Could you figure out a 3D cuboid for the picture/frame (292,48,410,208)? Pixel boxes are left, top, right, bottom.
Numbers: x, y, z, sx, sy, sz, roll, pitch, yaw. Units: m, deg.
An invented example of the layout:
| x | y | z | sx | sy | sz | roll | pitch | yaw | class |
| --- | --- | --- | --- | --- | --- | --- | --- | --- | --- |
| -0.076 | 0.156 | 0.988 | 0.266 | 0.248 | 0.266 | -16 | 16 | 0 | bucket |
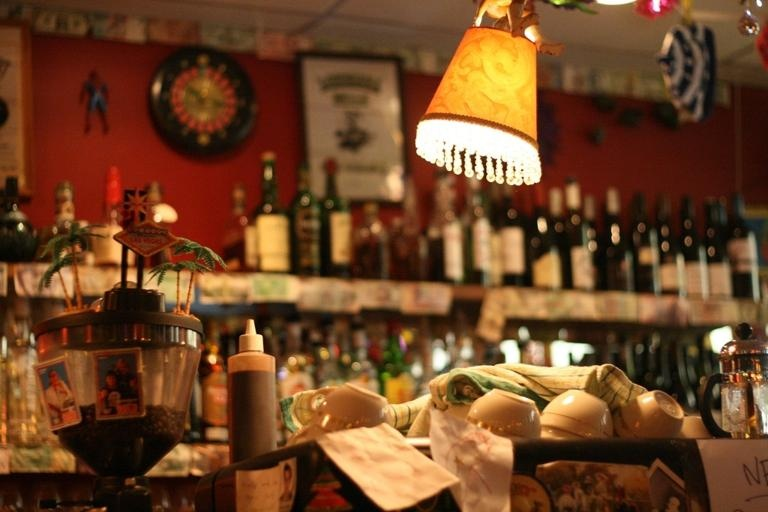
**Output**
| x | y | z | sx | sy | sz | roll | pitch | yaw | class |
| --- | --- | --- | --- | --- | --- | --- | --- | --- | --- |
| -0.141 | -0.471 | 3.792 | 0.597 | 0.836 | 0.031 | 2 | -4 | -32 | picture/frame |
